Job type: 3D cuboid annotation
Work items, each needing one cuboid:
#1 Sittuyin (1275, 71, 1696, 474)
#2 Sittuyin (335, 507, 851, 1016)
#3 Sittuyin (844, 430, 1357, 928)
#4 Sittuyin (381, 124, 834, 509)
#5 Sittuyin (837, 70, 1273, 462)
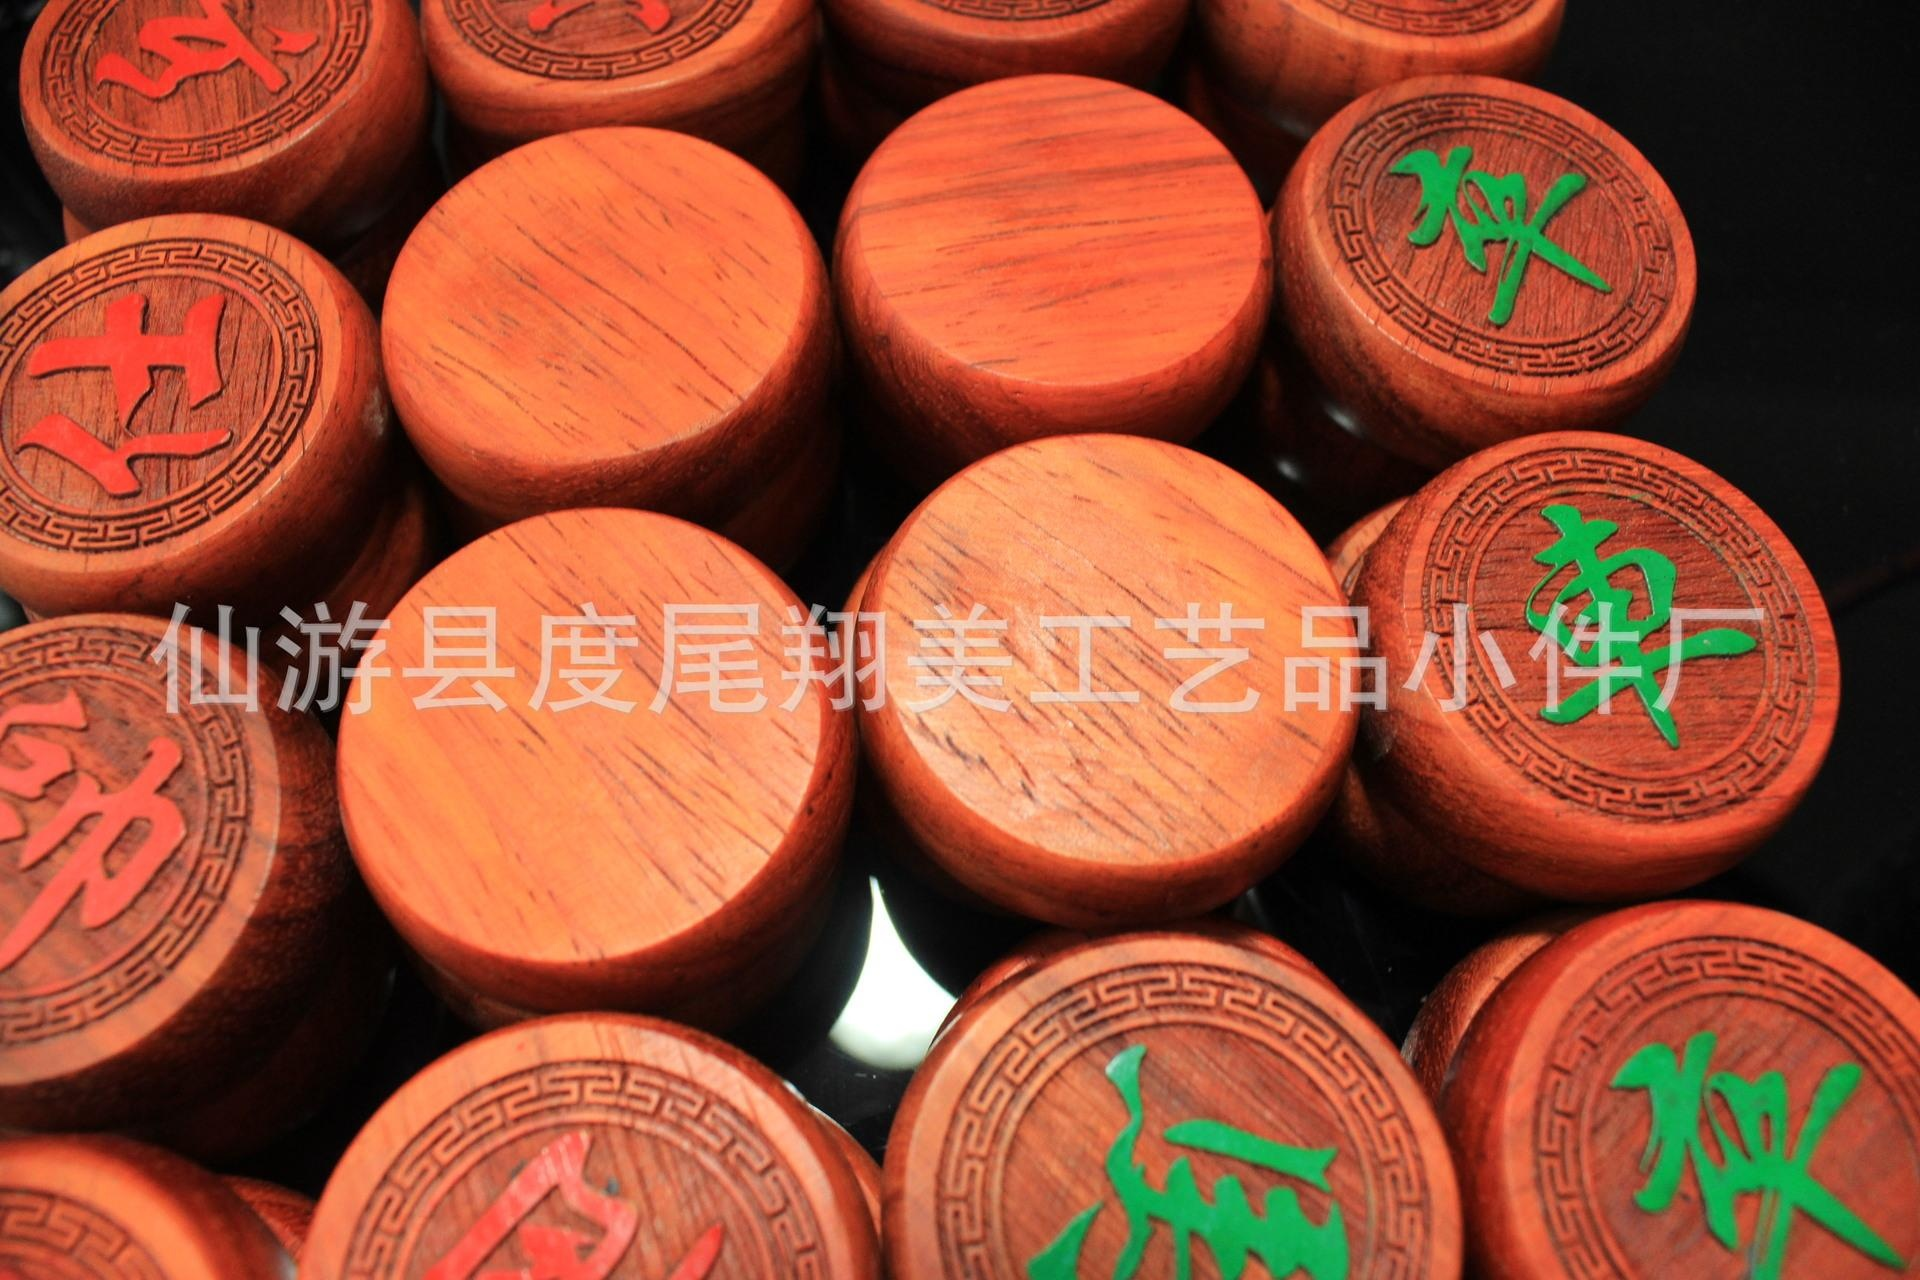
[{"bbox_3d":[0.675,-0.461,2.779,0.461,0.300,0.529,-30,79,-13],"label":"Sittuyin"},{"bbox_3d":[-0.425,0.181,2.460,0.600,0.345,0.538,-4,60,2],"label":"Sittuyin"},{"bbox_3d":[0.180,0.036,2.427,0.571,0.192,0.517,-3,61,3],"label":"Sittuyin"},{"bbox_3d":[-0.446,-0.420,2.538,0.403,0.282,0.505,21,71,10],"label":"Sittuyin"},{"bbox_3d":[0.124,-0.442,2.599,0.390,0.404,0.531,1,68,2],"label":"Sittuyin"}]
